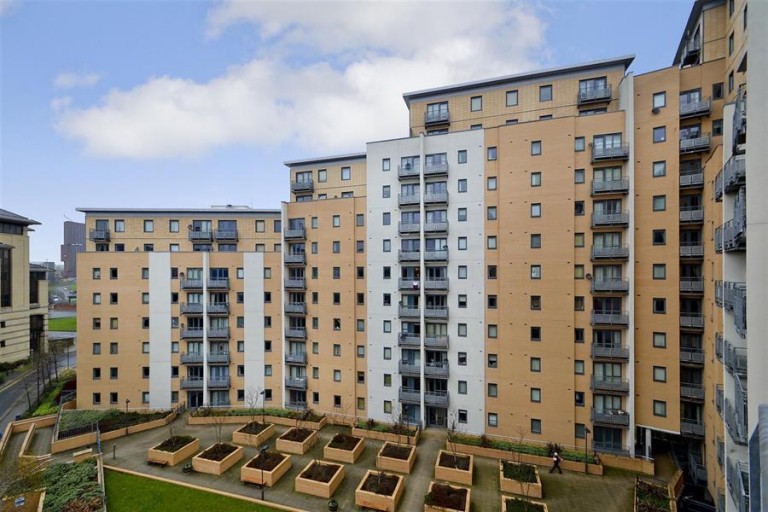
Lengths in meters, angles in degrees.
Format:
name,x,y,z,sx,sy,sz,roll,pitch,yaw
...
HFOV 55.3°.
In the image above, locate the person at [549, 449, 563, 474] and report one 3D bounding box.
name,x,y,z,sx,sy,sz,roll,pitch,yaw
person,20.866,24.904,88.975,1.439,2.717,1.017,-3,-4,8
